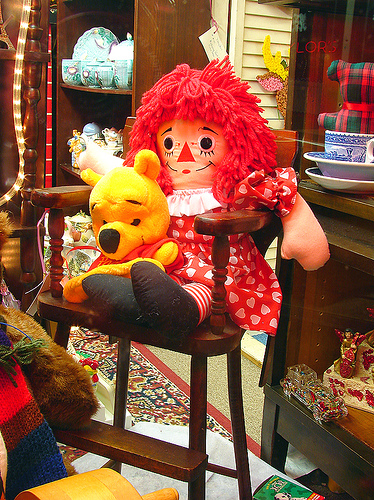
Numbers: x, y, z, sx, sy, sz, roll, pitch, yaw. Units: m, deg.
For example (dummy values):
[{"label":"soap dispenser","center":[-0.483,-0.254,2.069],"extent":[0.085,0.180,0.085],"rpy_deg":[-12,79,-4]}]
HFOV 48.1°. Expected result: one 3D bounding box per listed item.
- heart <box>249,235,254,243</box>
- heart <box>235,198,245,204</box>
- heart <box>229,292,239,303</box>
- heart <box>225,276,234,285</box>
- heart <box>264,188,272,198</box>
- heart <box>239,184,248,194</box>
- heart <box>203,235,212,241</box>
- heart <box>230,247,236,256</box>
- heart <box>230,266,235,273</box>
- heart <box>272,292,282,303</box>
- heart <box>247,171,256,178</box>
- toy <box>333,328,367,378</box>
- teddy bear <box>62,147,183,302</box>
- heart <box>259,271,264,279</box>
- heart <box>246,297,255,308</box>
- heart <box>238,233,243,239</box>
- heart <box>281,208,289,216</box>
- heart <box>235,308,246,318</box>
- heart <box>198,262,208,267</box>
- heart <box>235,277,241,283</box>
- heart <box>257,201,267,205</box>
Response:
[{"label":"heart","center":[0.141,-0.023,0.929],"extent":[0.002,0.010,0.010],"rpy_deg":[-36,-24,-2]},{"label":"heart","center":[0.104,-0.099,0.840],"extent":[0.019,0.013,0.009],"rpy_deg":[14,17,42]},{"label":"heart","center":[0.089,0.089,0.799],"extent":[0.019,0.019,0.005],"rpy_deg":[-3,15,-22]},{"label":"heart","center":[0.081,0.058,0.809],"extent":[0.013,0.011,0.023],"rpy_deg":[6,13,14]},{"label":"heart","center":[0.156,-0.112,0.817],"extent":[0.016,0.016,0.008],"rpy_deg":[5,14,8]},{"label":"heart","center":[0.108,-0.120,0.820],"extent":[0.016,0.019,0.003],"rpy_deg":[10,15,27]},{"label":"heart","center":[0.041,-0.026,0.851],"extent":[0.012,0.009,0.001],"rpy_deg":[-2,28,0]},{"label":"heart","center":[0.096,0.000,0.888],"extent":[0.016,0.018,0.014],"rpy_deg":[-1,-6,24]},{"label":"heart","center":[0.090,0.038,0.857],"extent":[0.009,0.012,0.016],"rpy_deg":[8,14,22]},{"label":"heart","center":[0.180,0.095,0.854],"extent":[0.019,0.006,0.015],"rpy_deg":[34,51,20]},{"label":"heart","center":[0.125,-0.149,0.833],"extent":[0.016,0.011,0.015],"rpy_deg":[0,13,-10]},{"label":"toy","center":[0.385,0.246,1.007],"extent":[0.038,0.115,0.055],"rpy_deg":[-6,16,-32]},{"label":"teddy bear","center":[-0.123,-0.043,0.825],"extent":[0.213,0.263,0.214],"rpy_deg":[-5,6,30]},{"label":"heart","center":[0.158,0.052,0.899],"extent":[0.006,0.014,0.004],"rpy_deg":[-30,-2,-32]},{"label":"heart","center":[0.124,0.101,0.814],"extent":[0.019,0.016,0.001],"rpy_deg":[-23,9,-34]},{"label":"heart","center":[0.115,-0.031,0.880],"extent":[0.012,0.012,0.010],"rpy_deg":[4,-5,-38]},{"label":"heart","center":[0.190,-0.074,0.823],"extent":[0.013,0.014,0.014],"rpy_deg":[11,15,31]},{"label":"heart","center":[0.102,0.119,0.800],"extent":[0.017,0.017,0.009],"rpy_deg":[-4,15,-28]},{"label":"heart","center":[0.030,0.028,0.836],"extent":[0.020,0.005,0.019],"rpy_deg":[2,12,0]},{"label":"heart","center":[0.106,0.062,0.883],"extent":[0.012,0.011,0.011],"rpy_deg":[3,0,44]},{"label":"heart","center":[0.146,-0.094,0.828],"extent":[0.014,0.007,0.023],"rpy_deg":[1,12,-7]}]
